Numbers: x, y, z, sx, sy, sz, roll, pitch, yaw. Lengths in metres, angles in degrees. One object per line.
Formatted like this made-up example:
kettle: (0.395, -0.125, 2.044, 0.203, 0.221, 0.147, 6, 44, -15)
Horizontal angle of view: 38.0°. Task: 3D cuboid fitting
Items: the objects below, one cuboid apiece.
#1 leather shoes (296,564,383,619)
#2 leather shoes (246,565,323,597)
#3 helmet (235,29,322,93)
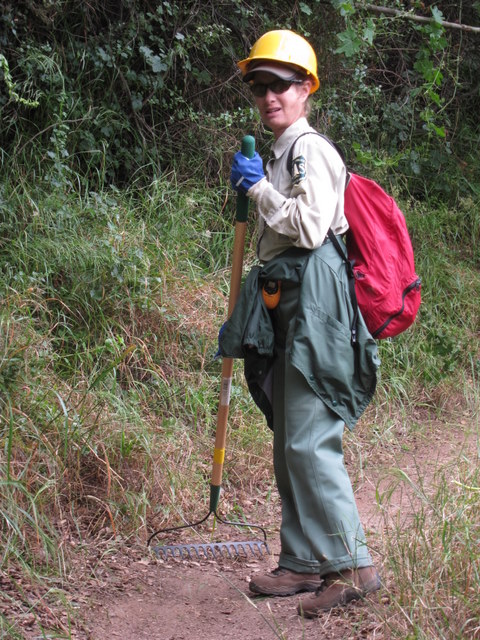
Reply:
leather shoes: (0.289, 0.934, 2.464, 0.378, 0.155, 0.126, -22, -11, 22)
leather shoes: (0.171, 1.002, 2.737, 0.325, 0.144, 0.113, 3, 0, -4)
helmet: (0.145, -1.036, 2.640, 0.238, 0.108, 0.187, 7, 22, -19)
